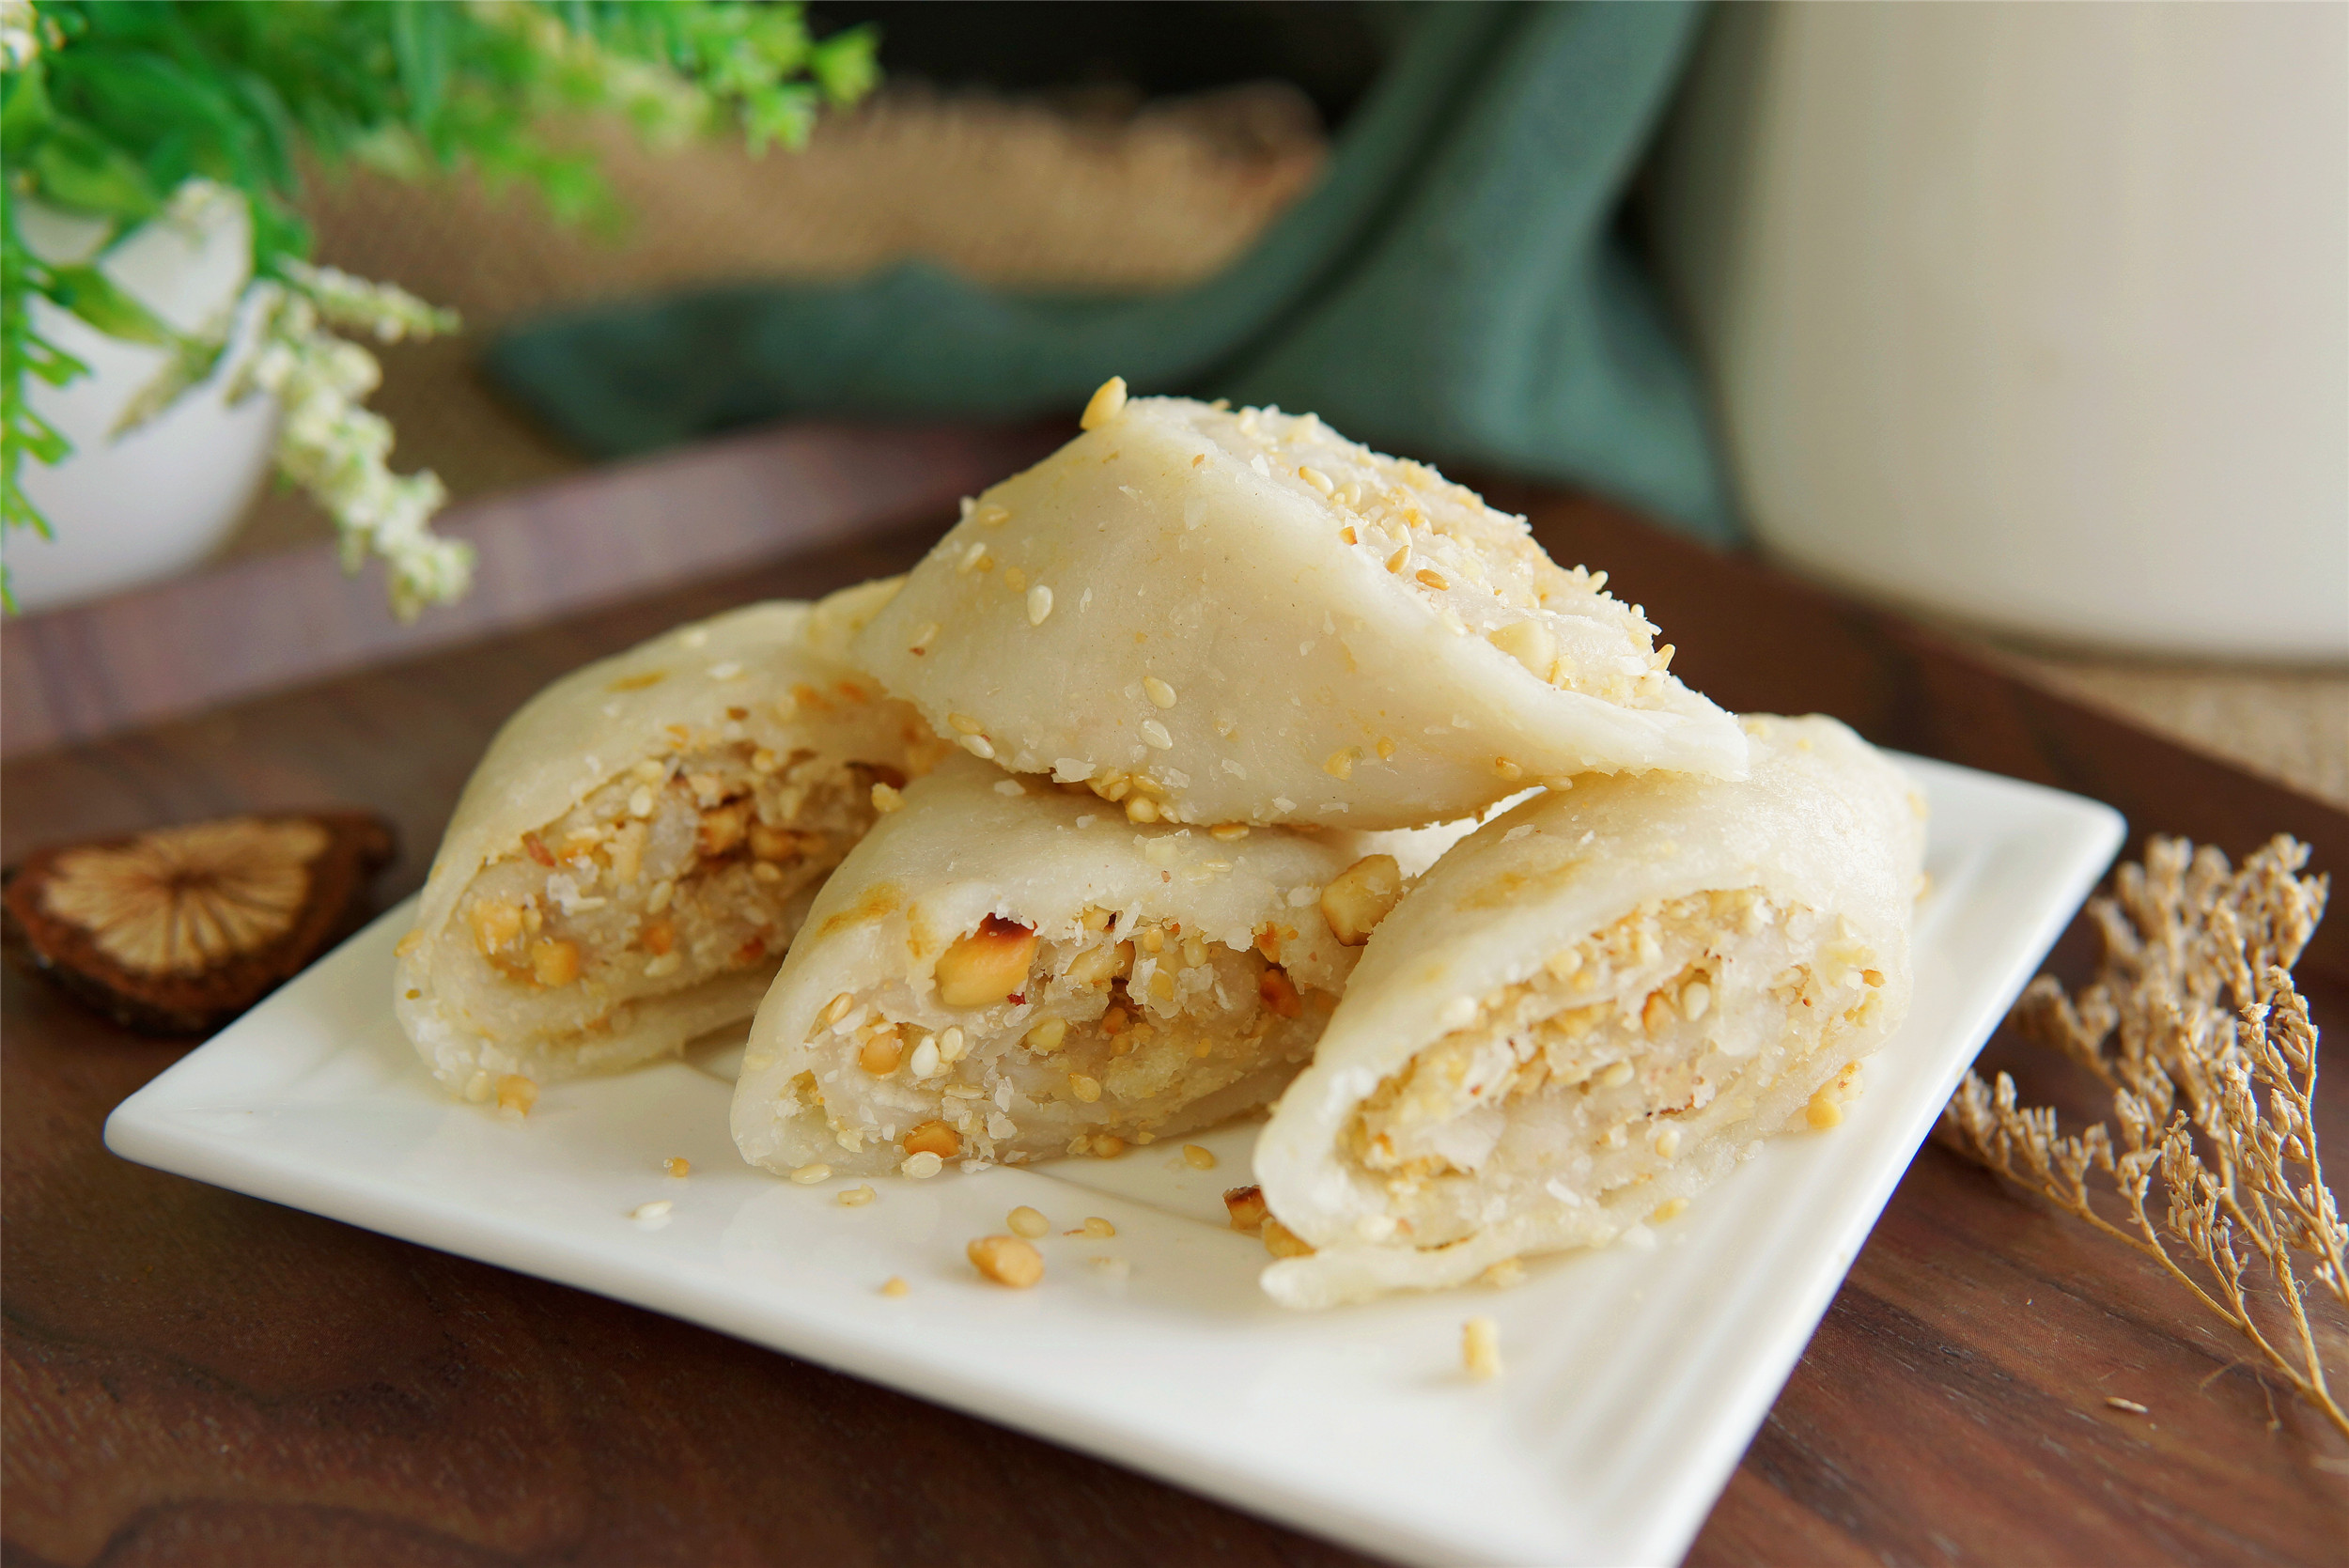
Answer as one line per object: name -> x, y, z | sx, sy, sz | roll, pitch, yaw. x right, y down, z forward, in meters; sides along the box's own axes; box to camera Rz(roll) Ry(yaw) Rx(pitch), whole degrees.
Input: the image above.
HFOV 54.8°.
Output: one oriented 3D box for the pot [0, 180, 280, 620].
pot -> -1.232, -0.464, 2.678 | 0.324, 0.341, 0.334 | 5, 41, -4
